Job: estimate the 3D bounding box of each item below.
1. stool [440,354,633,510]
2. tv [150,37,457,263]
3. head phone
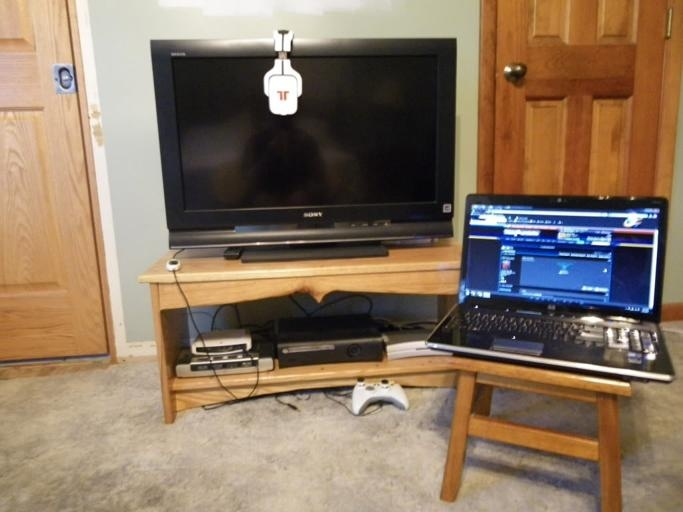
[{"bbox_3d":[0.565,0.481,1.917,0.545,0.485,0.572,6,12,6],"label":"stool"},{"bbox_3d":[-0.132,-0.416,2.250,1.175,0.862,0.316,-2,19,-3],"label":"tv"},{"bbox_3d":[-0.227,-0.697,2.116,0.154,0.307,0.029,-5,15,-7],"label":"head phone"}]
